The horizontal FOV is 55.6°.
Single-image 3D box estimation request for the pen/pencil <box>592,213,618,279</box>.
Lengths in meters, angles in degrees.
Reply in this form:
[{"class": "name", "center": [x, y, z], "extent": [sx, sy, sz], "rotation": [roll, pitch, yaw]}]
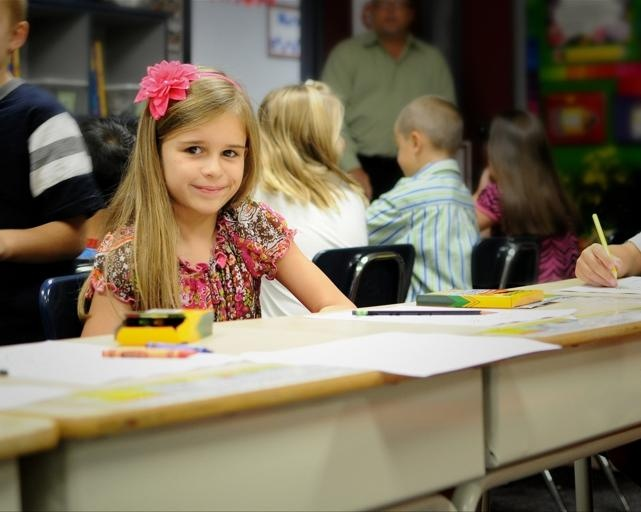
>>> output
[{"class": "pen/pencil", "center": [0.767, -0.034, 1.627], "extent": [0.023, 0.220, 0.023], "rotation": [-20, -16, 19]}]
